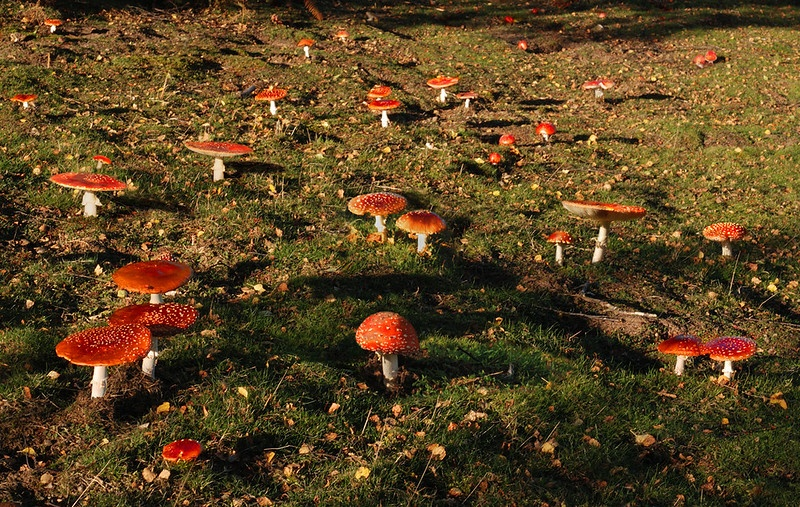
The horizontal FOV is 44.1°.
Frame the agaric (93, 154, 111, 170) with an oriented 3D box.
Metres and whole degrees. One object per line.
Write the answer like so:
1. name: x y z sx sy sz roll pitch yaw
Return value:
1. agaric: -8.413 -2.623 27.983 0.457 0.313 0.440 13 8 13
